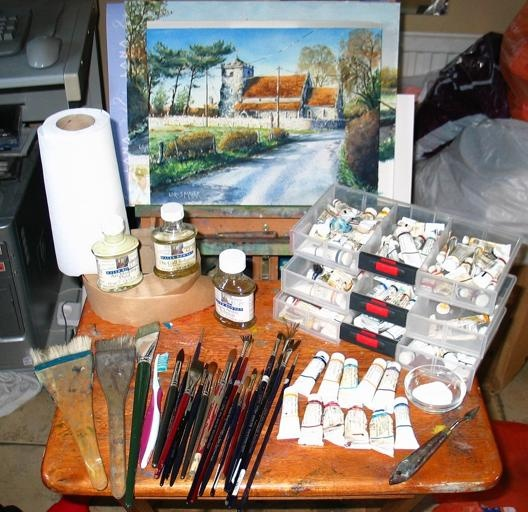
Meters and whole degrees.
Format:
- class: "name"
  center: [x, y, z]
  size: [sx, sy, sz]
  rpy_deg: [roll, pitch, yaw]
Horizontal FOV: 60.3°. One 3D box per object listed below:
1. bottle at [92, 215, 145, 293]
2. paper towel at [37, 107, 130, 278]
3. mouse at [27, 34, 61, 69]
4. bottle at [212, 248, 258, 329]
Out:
- class: "bottle"
  center: [-0.314, 0.001, 0.972]
  size: [0.116, 0.197, 0.073]
  rpy_deg: [-12, 40, -22]
- class: "paper towel"
  center: [-0.395, -0.130, 1.007]
  size: [0.157, 0.356, 0.126]
  rpy_deg: [-16, 31, -29]
- class: "mouse"
  center: [-0.586, -0.563, 1.223]
  size: [0.089, 0.042, 0.132]
  rpy_deg: [-2, 56, -9]
- class: "bottle"
  center: [-0.065, 0.072, 0.963]
  size: [0.085, 0.177, 0.100]
  rpy_deg: [17, 40, 18]
